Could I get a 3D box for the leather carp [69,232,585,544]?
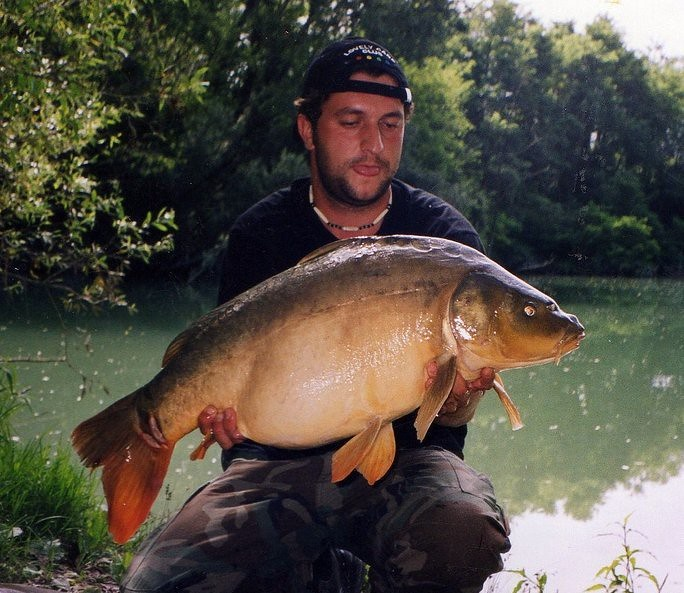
[{"bbox_3d":[-0.067,0.362,3.362,2.306,1.063,0.604,-14,-4,-4],"label":"leather carp"}]
